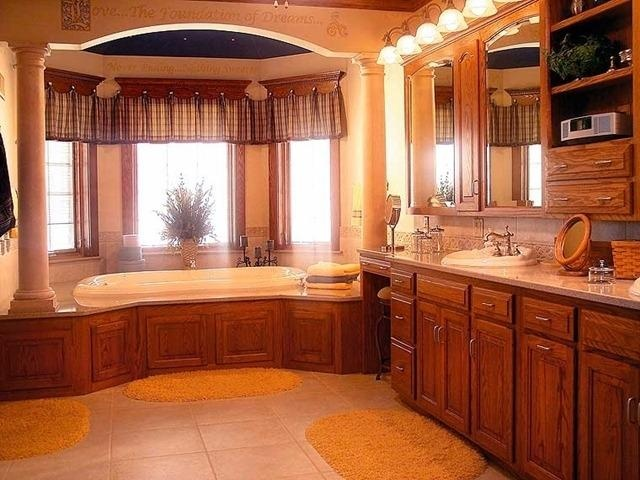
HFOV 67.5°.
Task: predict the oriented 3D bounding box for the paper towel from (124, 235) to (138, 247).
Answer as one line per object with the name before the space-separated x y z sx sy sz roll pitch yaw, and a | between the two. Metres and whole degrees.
paper towel | -2.482 0.012 6.276 0.199 0.160 0.081 -5 7 -26

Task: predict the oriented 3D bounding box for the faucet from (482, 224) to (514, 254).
faucet | 1.219 0.018 3.251 0.187 0.243 0.100 -2 30 25

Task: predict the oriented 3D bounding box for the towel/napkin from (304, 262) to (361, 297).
towel/napkin | 0.112 0.383 4.779 0.571 0.260 0.514 -2 7 -2

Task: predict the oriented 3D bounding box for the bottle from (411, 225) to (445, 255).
bottle | 0.914 -0.003 4.036 0.265 0.198 0.297 -1 7 8

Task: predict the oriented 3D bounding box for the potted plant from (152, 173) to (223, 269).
potted plant | -1.757 -0.185 6.403 0.708 1.057 0.706 0 -4 -17

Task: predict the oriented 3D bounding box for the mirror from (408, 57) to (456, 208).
mirror | 0.927 -0.963 4.316 0.269 1.238 0.289 -1 0 -39

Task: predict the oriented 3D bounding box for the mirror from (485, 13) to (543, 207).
mirror | 1.299 -0.840 3.241 0.134 1.229 0.580 -3 7 -10
